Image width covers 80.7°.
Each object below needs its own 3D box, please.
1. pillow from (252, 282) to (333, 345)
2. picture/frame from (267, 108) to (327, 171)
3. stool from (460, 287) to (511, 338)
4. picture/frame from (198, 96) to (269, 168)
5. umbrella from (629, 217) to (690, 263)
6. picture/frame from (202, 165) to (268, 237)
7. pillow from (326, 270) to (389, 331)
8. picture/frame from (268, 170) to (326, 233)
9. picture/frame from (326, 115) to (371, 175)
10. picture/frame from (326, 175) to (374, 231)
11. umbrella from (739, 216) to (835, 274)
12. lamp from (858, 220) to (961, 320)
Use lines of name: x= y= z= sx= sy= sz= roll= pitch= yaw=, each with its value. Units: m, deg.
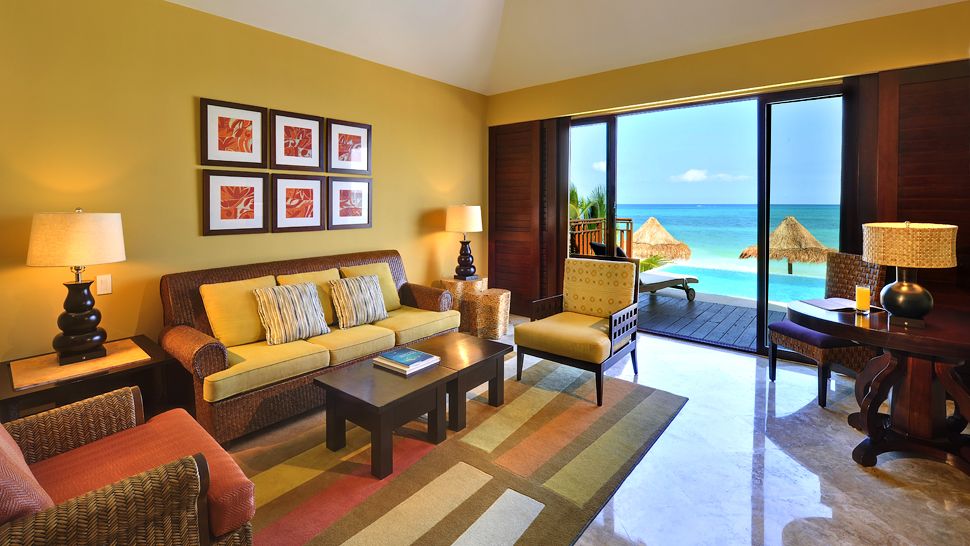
pillow: x=-2.002 y=0.408 z=5.858 sx=0.723 sy=0.578 sz=0.211 roll=-9 pitch=-9 yaw=-35
picture/frame: x=-2.142 y=-1.498 z=6.405 sx=0.810 sy=0.771 sz=0.057 roll=-5 pitch=8 yaw=-38
stool: x=0.075 y=0.507 z=7.669 sx=0.655 sy=0.579 sz=0.640 roll=3 pitch=5 yaw=36
picture/frame: x=-2.701 y=-1.500 z=6.047 sx=0.849 sy=0.802 sz=0.057 roll=-6 pitch=10 yaw=-39
umbrella: x=3.396 y=-0.563 z=10.730 sx=1.183 sy=0.622 sz=1.169 roll=-4 pitch=4 yaw=-42
picture/frame: x=-2.705 y=-0.786 z=6.096 sx=0.867 sy=0.682 sz=0.034 roll=-2 pitch=7 yaw=-40
pillow: x=-1.421 y=0.302 z=6.309 sx=0.196 sy=0.513 sz=0.648 roll=-19 pitch=-9 yaw=42
picture/frame: x=-2.158 y=-0.821 z=6.453 sx=0.797 sy=0.777 sz=0.055 roll=-3 pitch=3 yaw=-41
picture/frame: x=-1.650 y=-1.529 z=6.783 sx=0.831 sy=0.838 sz=0.063 roll=-2 pitch=1 yaw=-44
picture/frame: x=-1.651 y=-0.852 z=6.844 sx=0.056 sy=0.718 sz=0.733 roll=5 pitch=7 yaw=44
umbrella: x=4.961 y=-0.450 z=9.179 sx=1.456 sy=0.848 sz=1.378 roll=-2 pitch=4 yaw=-18
lamp: x=3.740 y=-0.027 z=5.051 sx=0.604 sy=0.850 sz=0.350 roll=-4 pitch=9 yaw=-5
